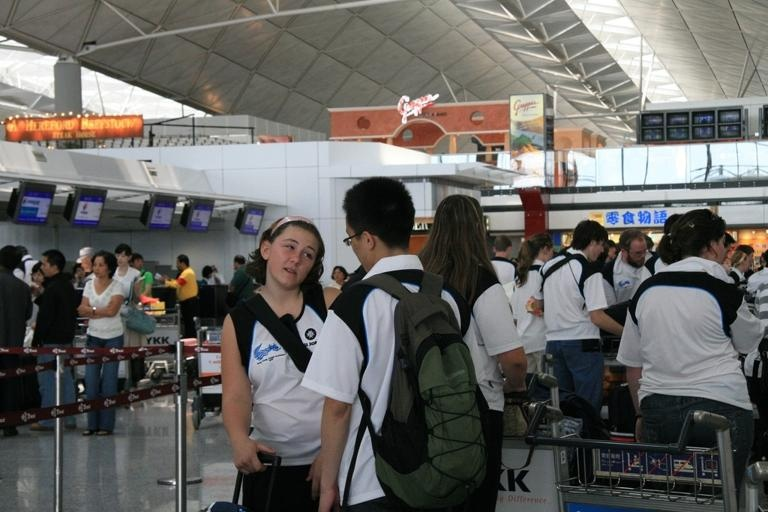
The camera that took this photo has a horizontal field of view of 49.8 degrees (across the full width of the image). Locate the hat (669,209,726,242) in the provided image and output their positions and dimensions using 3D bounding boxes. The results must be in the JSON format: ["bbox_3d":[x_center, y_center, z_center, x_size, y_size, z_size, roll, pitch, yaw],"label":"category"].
[{"bbox_3d":[2.481,-0.240,6.636,0.273,0.145,0.334,0,-6,-34],"label":"hat"}]

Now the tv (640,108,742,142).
[{"bbox_3d":[10.694,-4.595,28.978,3.386,1.143,0.492,-2,-4,13],"label":"tv"}]

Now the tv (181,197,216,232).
[{"bbox_3d":[-4.770,-1.022,20.639,0.529,1.026,1.064,12,6,29],"label":"tv"}]

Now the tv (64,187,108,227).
[{"bbox_3d":[-6.293,-1.037,17.282,0.391,0.791,0.823,18,8,21],"label":"tv"}]

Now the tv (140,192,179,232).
[{"bbox_3d":[-5.296,-1.044,19.184,0.453,0.792,0.855,17,6,22],"label":"tv"}]

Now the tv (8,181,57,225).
[{"bbox_3d":[-6.828,-1.060,16.004,0.407,0.736,0.798,19,11,33],"label":"tv"}]

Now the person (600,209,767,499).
[{"bbox_3d":[2.436,0.698,6.591,1.043,2.174,0.461,-2,-4,14],"label":"person"}]
